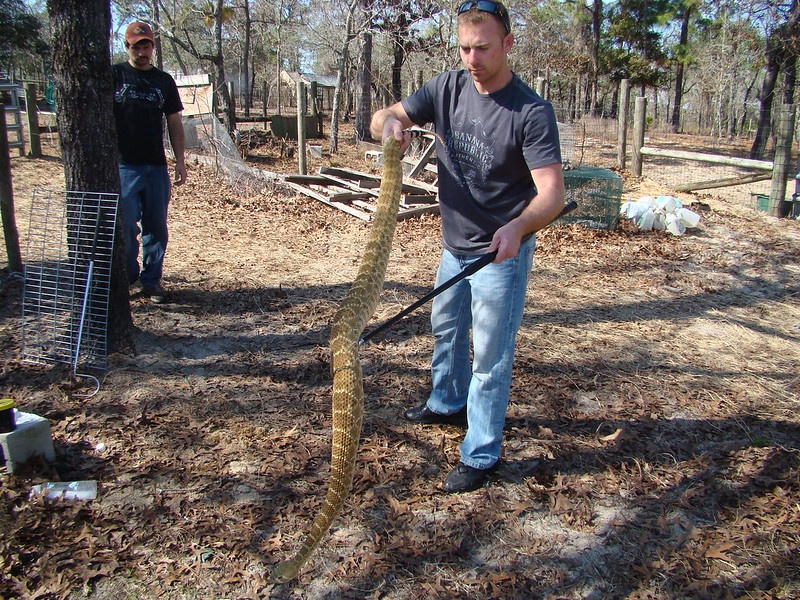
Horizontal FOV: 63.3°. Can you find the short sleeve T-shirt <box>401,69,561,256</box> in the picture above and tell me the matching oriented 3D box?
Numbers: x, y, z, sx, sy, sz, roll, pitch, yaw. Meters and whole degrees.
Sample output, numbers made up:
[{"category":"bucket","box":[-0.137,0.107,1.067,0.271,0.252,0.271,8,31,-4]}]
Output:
[{"category":"short sleeve T-shirt","box":[0.722,-1.106,5.472,1.301,1.511,0.279,9,15,36]}]

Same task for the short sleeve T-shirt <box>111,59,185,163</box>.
[{"category":"short sleeve T-shirt","box":[-3.171,-2.249,8.112,0.825,1.225,0.464,-8,15,-36]}]

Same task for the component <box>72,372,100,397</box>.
[{"category":"component","box":[-3.160,0.862,6.579,0.240,0.154,0.383,-4,12,-24]}]

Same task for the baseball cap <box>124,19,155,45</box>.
[{"category":"baseball cap","box":[-3.142,-3.131,7.819,0.316,0.267,0.218,-3,12,-21]}]

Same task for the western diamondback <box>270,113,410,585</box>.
[{"category":"western diamondback","box":[-0.143,-0.459,6.847,0.814,0.635,6.632,23,35,-12]}]
